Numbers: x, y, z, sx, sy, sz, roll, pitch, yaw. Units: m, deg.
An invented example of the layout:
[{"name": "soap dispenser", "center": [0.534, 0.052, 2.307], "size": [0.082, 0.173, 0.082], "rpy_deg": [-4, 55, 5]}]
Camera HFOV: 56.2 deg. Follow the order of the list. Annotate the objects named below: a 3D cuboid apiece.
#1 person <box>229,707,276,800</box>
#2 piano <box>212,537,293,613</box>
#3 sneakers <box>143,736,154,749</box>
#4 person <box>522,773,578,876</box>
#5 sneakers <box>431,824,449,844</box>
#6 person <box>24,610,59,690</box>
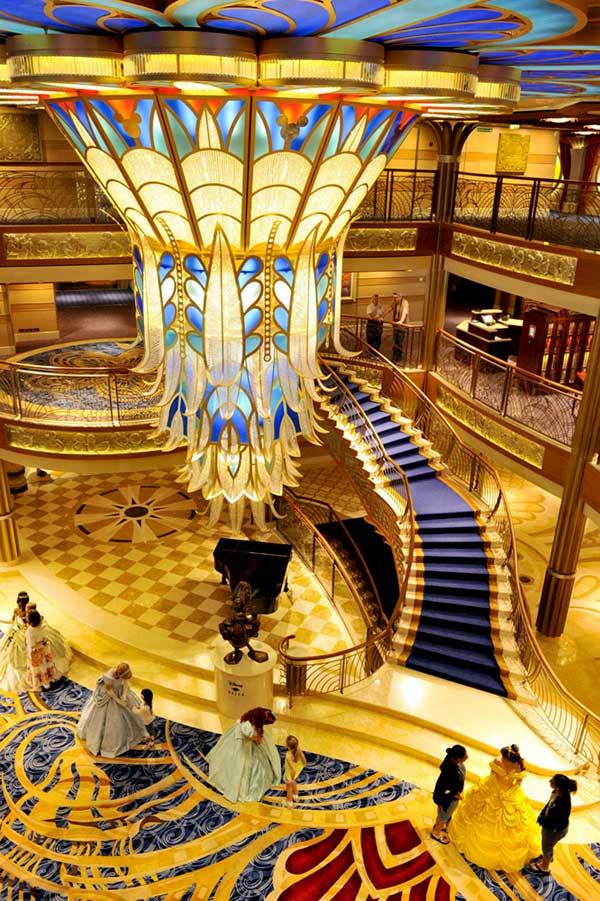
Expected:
[{"name": "person", "center": [-0.468, 2.631, 5.080], "size": [0.477, 0.368, 0.710], "rpy_deg": [11, -76, 12]}, {"name": "piano", "center": [-0.664, 1.666, 7.933], "size": [1.097, 1.352, 0.711], "rpy_deg": [-4, -38, -2]}, {"name": "sneakers", "center": [-1.550, 2.984, 5.749], "size": [0.067, 0.110, 0.058], "rpy_deg": [3, -77, -16]}, {"name": "person", "center": [1.854, 2.756, 4.157], "size": [0.223, 0.230, 0.771], "rpy_deg": [-5, -75, -48]}, {"name": "sneakers", "center": [1.138, 3.108, 4.561], "size": [0.096, 0.161, 0.053], "rpy_deg": [-38, -44, -27]}, {"name": "person", "center": [-3.026, 2.330, 6.529], "size": [0.299, 0.722, 0.751], "rpy_deg": [1, -39, -8]}]
